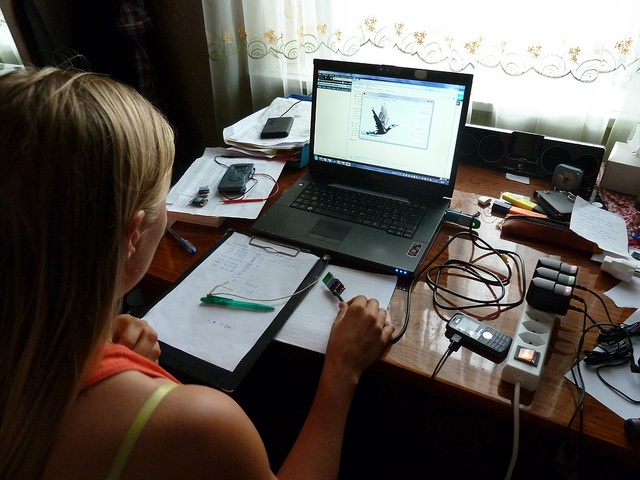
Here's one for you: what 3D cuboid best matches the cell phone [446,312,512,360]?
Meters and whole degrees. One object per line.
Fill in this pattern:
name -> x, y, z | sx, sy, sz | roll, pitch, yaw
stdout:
cell phone -> 0.308, 0.186, 0.856 | 0.102, 0.026, 0.063 | 25, 57, 31

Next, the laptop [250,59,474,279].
laptop -> 0.098, -0.210, 1.062 | 0.435, 0.329, 0.431 | 11, 37, 19

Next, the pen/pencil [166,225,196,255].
pen/pencil -> -0.346, 0.004, 1.094 | 0.085, 0.020, 0.020 | 45, 15, 28

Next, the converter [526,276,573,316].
converter -> 0.459, 0.107, 0.878 | 0.074, 0.074, 0.042 | 18, 46, 28

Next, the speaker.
speaker -> 0.615, -0.234, 1.283 | 0.216, 0.076, 0.044 | 21, 28, 18

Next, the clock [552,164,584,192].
clock -> 0.657, -0.161, 1.171 | 0.059, 0.066, 0.032 | 14, 22, 37
